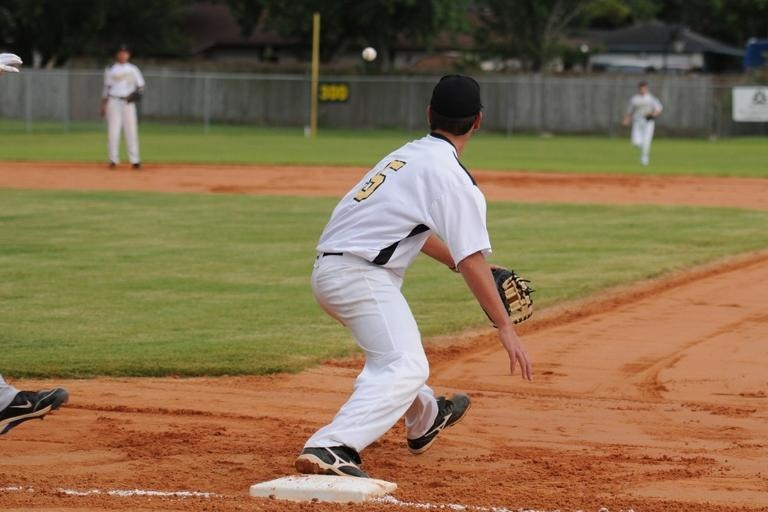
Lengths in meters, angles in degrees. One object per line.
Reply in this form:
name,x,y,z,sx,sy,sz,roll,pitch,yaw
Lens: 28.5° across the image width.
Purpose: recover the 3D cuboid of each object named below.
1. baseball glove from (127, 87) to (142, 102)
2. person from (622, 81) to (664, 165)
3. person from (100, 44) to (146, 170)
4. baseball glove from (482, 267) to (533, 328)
baseball glove,-2.795,-1.857,17.104,0.133,0.164,0.074,34,-8,-28
person,2.921,-1.505,16.913,0.429,0.954,0.124,0,7,7
person,-2.936,-1.701,17.088,0.477,1.409,0.310,-2,7,-8
baseball glove,1.156,0.380,13.852,0.431,0.557,0.211,-21,-6,-35
